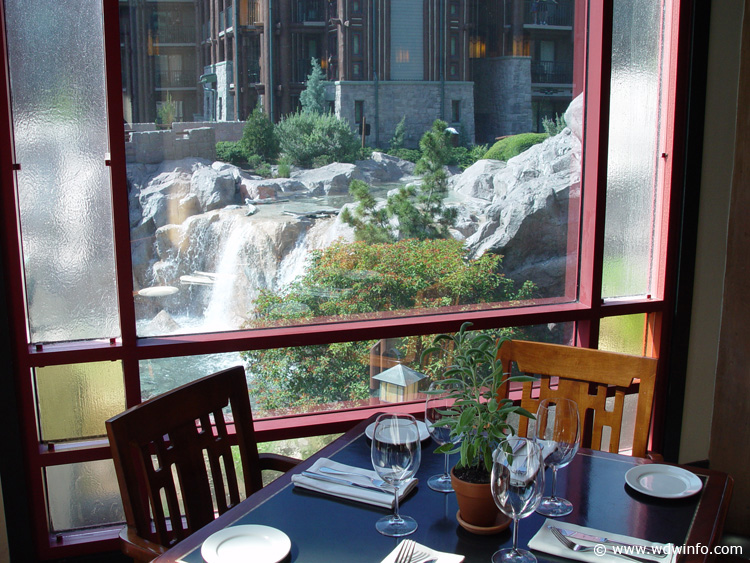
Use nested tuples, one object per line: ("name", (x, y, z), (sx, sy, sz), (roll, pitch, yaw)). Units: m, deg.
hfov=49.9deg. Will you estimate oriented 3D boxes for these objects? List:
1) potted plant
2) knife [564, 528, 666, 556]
("potted plant", (0.298, 0.430, 2.367), (0.339, 0.790, 0.446), (-2, 9, -6))
("knife", (0.638, 0.681, 2.090), (0.296, 0.021, 0.090), (2, 13, 22))
